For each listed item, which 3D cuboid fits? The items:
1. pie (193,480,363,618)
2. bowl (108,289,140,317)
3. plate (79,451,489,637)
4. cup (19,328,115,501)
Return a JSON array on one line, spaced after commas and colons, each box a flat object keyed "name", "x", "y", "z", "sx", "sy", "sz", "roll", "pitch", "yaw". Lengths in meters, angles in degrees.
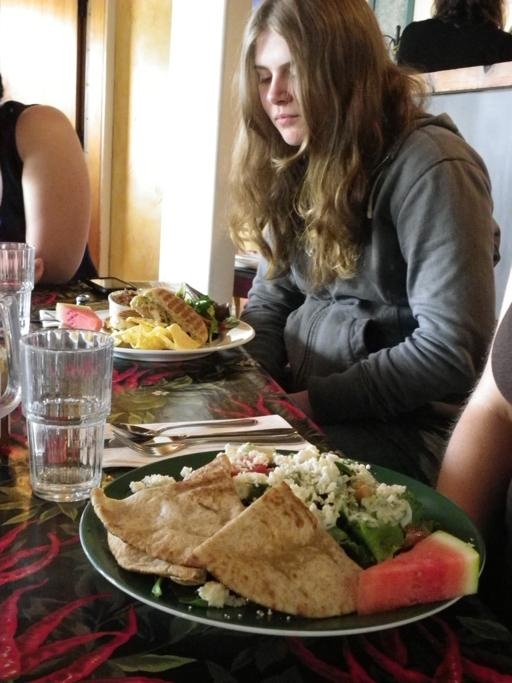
[{"name": "pie", "x": 0.026, "y": 0.154, "z": 0.416, "sx": 0.100, "sy": 0.055, "sz": 0.109, "roll": 7, "pitch": 13, "yaw": 22}, {"name": "bowl", "x": -0.301, "y": -0.094, "z": 1.356, "sx": 0.076, "sy": 0.053, "sz": 0.065, "roll": -9, "pitch": 29, "yaw": -25}, {"name": "plate", "x": 0.025, "y": 0.119, "z": 0.502, "sx": 0.270, "sy": 0.095, "sz": 0.199, "roll": 5, "pitch": 10, "yaw": 26}, {"name": "cup", "x": -0.210, "y": 0.082, "z": 0.674, "sx": 0.115, "sy": 0.175, "sz": 0.109, "roll": 4, "pitch": 15, "yaw": -1}]
